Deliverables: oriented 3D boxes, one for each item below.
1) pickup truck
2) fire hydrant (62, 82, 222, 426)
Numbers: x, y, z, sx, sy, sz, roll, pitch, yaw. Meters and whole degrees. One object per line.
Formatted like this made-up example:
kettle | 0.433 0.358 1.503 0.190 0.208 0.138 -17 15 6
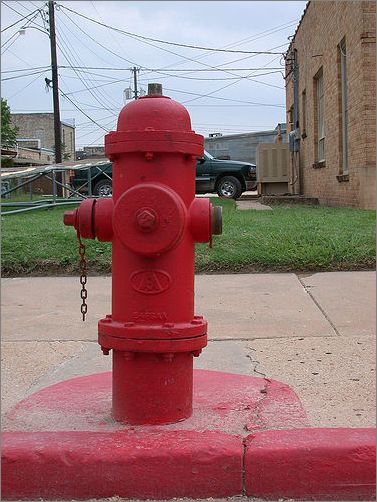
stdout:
pickup truck | -0.396 -1.694 16.392 5.831 1.849 2.217 0 5 1
fire hydrant | -0.155 0.018 2.355 0.606 1.370 0.361 -3 9 -9
